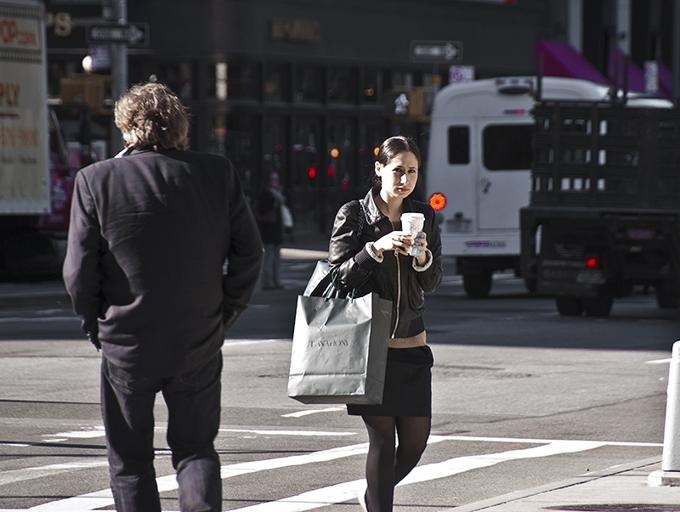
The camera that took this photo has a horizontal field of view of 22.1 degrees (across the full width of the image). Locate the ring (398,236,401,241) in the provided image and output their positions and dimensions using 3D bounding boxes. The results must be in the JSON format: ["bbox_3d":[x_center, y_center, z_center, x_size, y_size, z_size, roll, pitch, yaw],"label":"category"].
[{"bbox_3d":[0.429,-0.102,12.622,0.041,0.033,0.014,-2,-17,9],"label":"ring"}]

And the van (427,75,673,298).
[{"bbox_3d":[3.141,-1.272,26.621,2.584,2.206,3.913,1,3,20],"label":"van"}]

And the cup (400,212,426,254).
[{"bbox_3d":[0.526,-0.130,12.655,0.157,0.313,0.130,0,6,-3],"label":"cup"}]

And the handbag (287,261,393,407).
[{"bbox_3d":[-0.009,0.682,12.617,0.741,0.772,0.280,0,6,2],"label":"handbag"}]
